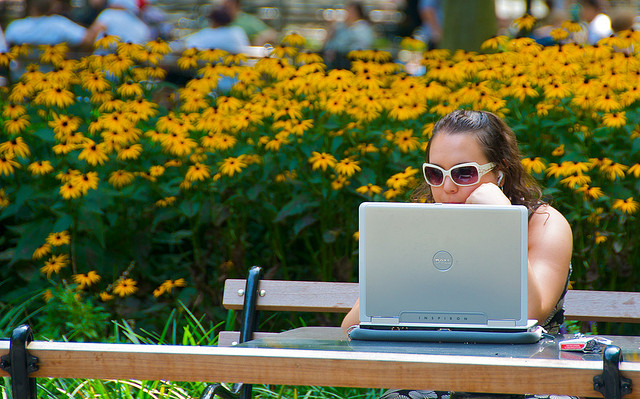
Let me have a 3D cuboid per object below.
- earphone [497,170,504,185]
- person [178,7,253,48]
[{"bbox_3d":[1.146,-0.145,6.582,0.026,0.072,0.049,20,-11,-36],"label":"earphone"},{"bbox_3d":[-1.066,-1.759,11.182,0.948,0.524,0.958,-1,2,-1],"label":"person"}]
